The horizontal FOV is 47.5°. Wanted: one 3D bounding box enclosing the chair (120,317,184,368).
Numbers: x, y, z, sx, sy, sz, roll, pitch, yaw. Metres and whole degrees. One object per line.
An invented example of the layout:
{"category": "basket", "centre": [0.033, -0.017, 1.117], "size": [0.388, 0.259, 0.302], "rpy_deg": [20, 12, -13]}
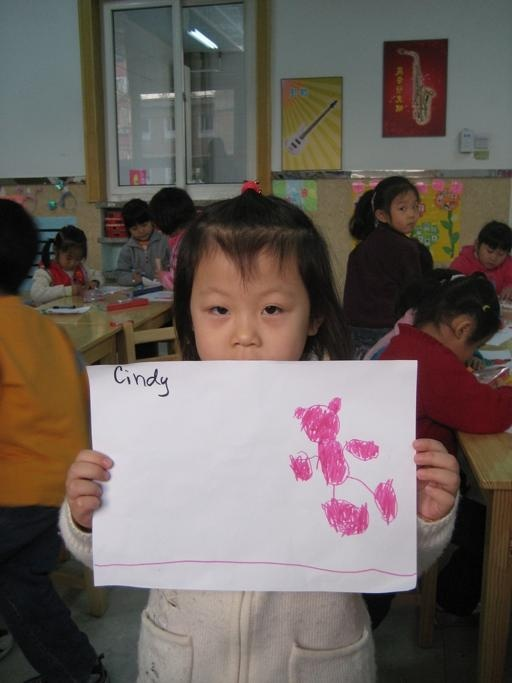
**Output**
{"category": "chair", "centre": [-0.385, -0.005, 2.104], "size": [0.170, 0.278, 0.156], "rpy_deg": [-3, 40, -1]}

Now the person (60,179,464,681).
{"category": "person", "centre": [-0.009, 0.140, 0.806], "size": [0.500, 0.686, 0.340], "rpy_deg": [-4, 14, 1]}
